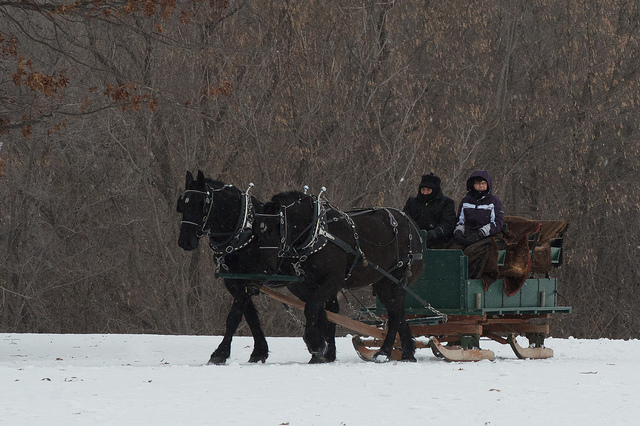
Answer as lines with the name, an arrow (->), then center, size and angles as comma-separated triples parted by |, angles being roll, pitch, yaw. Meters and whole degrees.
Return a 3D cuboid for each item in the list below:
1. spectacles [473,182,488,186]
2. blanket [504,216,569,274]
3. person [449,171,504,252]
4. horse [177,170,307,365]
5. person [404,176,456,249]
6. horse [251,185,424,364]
spectacles -> 3.365, -0.621, 23.023 | 0.272, 0.076, 0.045 | -2, -5, 25
blanket -> 4.760, 0.635, 23.136 | 1.077, 1.203, 0.702 | 6, 1, 17
person -> 3.267, -0.076, 22.892 | 1.014, 1.676, 0.851 | -1, -4, 23
horse -> -0.918, 1.260, 21.719 | 1.241, 3.354, 5.314 | -4, -11, 44
person -> 2.176, 0.026, 23.192 | 1.325, 1.622, 1.143 | -3, 7, -28
horse -> 0.199, 1.327, 22.855 | 5.260, 3.616, 1.815 | 11, -19, -37
